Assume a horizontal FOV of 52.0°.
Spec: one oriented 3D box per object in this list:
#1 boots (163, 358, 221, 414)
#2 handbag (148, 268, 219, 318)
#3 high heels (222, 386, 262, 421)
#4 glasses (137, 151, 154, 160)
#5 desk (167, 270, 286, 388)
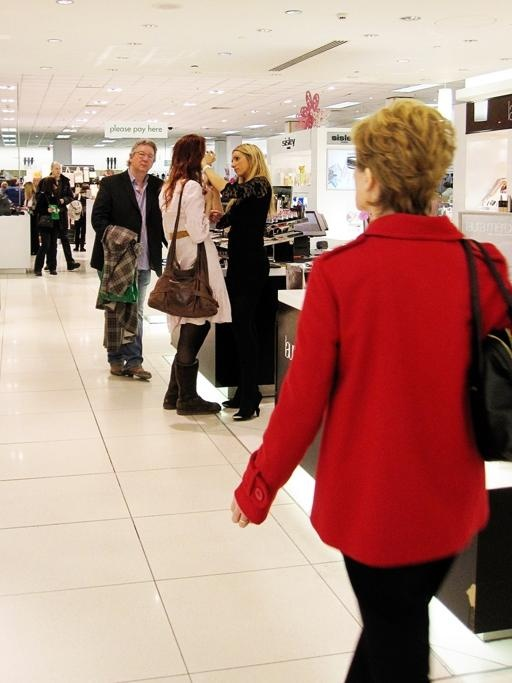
[{"bbox_3d":[-0.498,0.295,3.892,0.366,0.432,0.446,-4,12,-23],"label":"boots"},{"bbox_3d":[-0.482,-0.383,3.504,0.453,0.469,0.207,4,-5,8],"label":"handbag"},{"bbox_3d":[-0.104,0.445,3.744,0.132,0.196,0.424,2,7,-6],"label":"high heels"},{"bbox_3d":[-0.880,-1.484,4.211,0.050,0.053,0.149,6,10,37],"label":"glasses"},{"bbox_3d":[-0.234,0.030,4.629,0.721,1.364,1.366,0,2,-10],"label":"desk"}]
